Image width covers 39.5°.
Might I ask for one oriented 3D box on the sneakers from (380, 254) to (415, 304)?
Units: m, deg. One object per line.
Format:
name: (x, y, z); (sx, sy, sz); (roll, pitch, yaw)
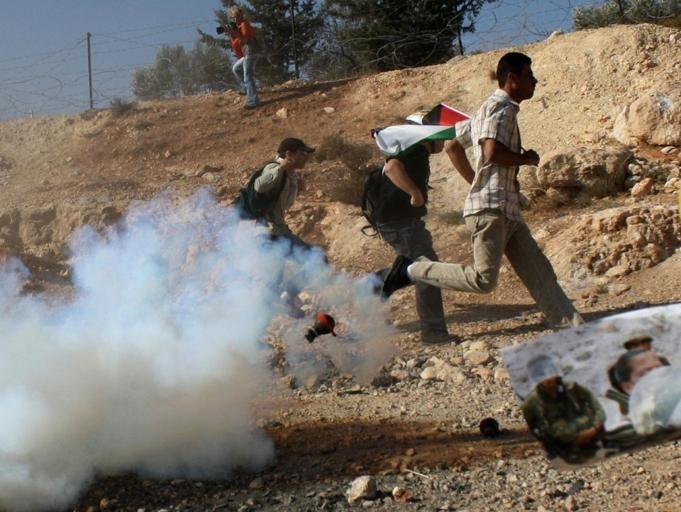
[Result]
sneakers: (0.613, 0.234, 10.120); (0.242, 0.548, 0.193); (26, 4, 17)

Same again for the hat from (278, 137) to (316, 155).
hat: (-0.534, -1.266, 10.980); (0.318, 0.211, 0.363); (9, 25, 31)

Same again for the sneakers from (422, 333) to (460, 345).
sneakers: (1.084, 0.875, 10.274); (0.422, 0.177, 0.138); (-2, 2, 11)

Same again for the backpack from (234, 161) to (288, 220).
backpack: (-0.930, -0.771, 11.104); (0.634, 0.652, 0.307); (-7, 23, -6)
